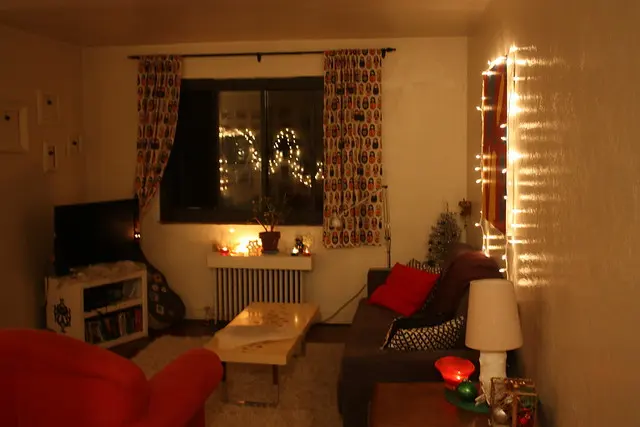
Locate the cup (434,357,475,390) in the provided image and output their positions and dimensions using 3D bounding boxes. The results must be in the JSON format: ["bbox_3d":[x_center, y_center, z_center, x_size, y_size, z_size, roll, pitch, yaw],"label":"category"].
[{"bbox_3d":[0.882,1.023,3.615,0.166,0.124,0.181,-2,2,0],"label":"cup"}]

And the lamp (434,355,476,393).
[{"bbox_3d":[0.876,1.032,3.612,0.173,0.118,0.175,0,0,43],"label":"lamp"}]

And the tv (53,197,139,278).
[{"bbox_3d":[-2.298,0.271,5.667,0.073,0.587,0.739,0,2,29],"label":"tv"}]

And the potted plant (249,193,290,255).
[{"bbox_3d":[-0.563,0.145,6.159,0.546,1.012,0.355,0,-2,-3],"label":"potted plant"}]
